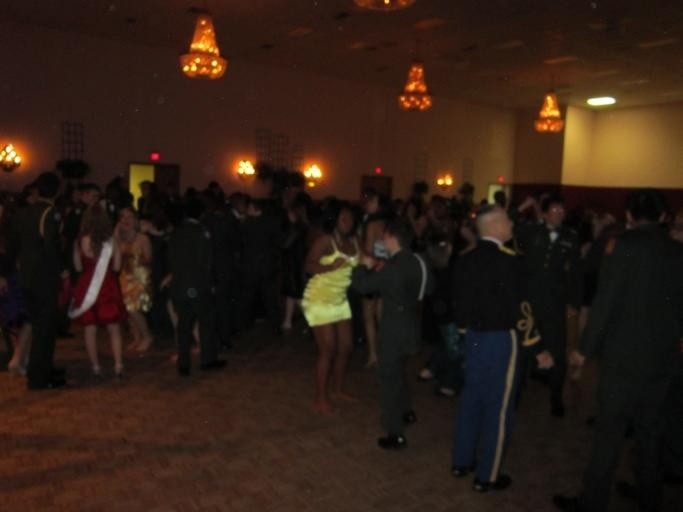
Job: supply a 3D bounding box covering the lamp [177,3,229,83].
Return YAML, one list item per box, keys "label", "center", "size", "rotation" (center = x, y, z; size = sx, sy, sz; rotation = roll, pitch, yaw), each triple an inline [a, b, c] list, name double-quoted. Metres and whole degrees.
- label: "lamp"
  center: [-1.949, -2.913, 8.080]
  size: [0.512, 0.853, 0.458]
  rotation: [1, 14, 3]

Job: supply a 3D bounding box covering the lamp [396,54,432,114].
- label: "lamp"
  center: [1.291, -2.858, 10.225]
  size: [0.668, 0.948, 0.697]
  rotation: [-1, -3, 42]

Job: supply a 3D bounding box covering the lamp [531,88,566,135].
- label: "lamp"
  center: [4.255, -2.907, 11.881]
  size: [0.447, 0.732, 0.497]
  rotation: [8, 16, 28]
